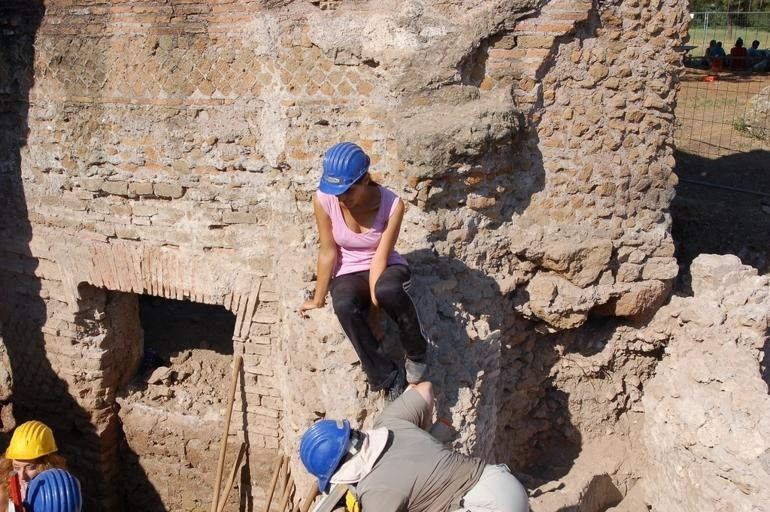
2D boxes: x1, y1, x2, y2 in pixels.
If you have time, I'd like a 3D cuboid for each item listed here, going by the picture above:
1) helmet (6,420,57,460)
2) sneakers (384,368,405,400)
[{"bbox_3d":[-3.642,1.954,10.604,0.327,0.286,0.459,2,-3,8],"label":"helmet"},{"bbox_3d":[0.099,1.323,10.189,0.164,0.328,0.092,8,-12,34],"label":"sneakers"}]
